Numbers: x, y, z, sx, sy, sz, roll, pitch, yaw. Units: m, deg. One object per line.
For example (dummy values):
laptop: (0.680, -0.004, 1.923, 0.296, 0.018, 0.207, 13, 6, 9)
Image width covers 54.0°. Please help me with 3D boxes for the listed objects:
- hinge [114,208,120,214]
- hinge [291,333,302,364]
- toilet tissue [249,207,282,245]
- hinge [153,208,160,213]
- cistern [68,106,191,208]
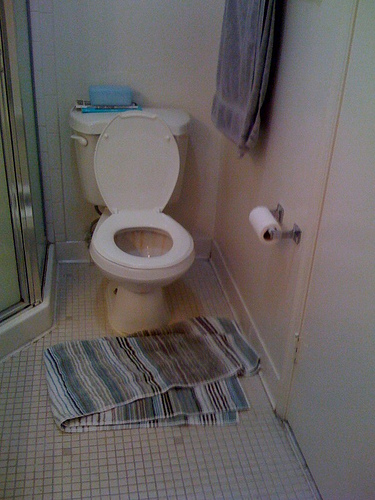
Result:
hinge: (-0.294, -0.162, 1.523, 0.015, 0.004, 0.020, 1, 78, -8)
hinge: (0.305, 0.274, 1.029, 0.009, 0.097, 0.039, -2, 30, -17)
toilet tissue: (0.222, -0.076, 1.062, 0.060, 0.081, 0.147, 5, 34, -6)
hinge: (-0.130, -0.168, 1.564, 0.014, 0.012, 0.023, 8, 28, 13)
cistern: (-0.303, -0.434, 1.762, 0.419, 0.508, 0.422, -4, 33, -15)
